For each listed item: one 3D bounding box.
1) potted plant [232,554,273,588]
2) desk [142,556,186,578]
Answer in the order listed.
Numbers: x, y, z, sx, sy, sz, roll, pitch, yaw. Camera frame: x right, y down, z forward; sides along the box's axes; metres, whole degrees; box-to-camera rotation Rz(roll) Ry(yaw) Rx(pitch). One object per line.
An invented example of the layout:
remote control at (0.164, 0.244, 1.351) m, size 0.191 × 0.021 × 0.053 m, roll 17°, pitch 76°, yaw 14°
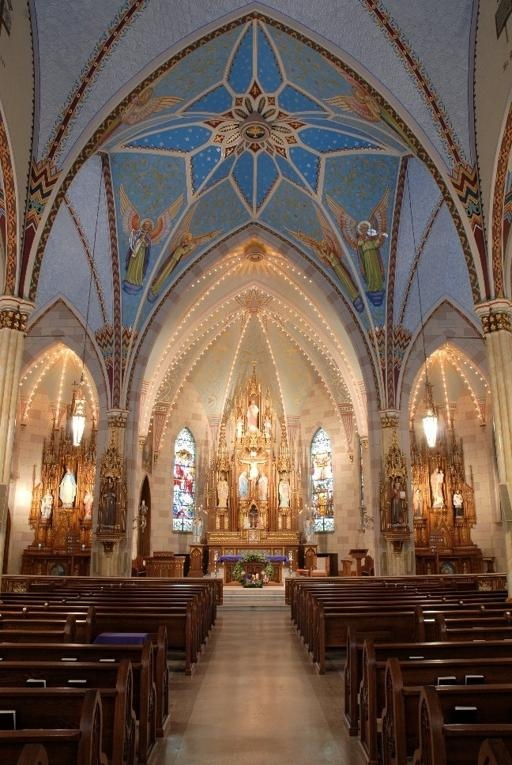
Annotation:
potted plant at (-0.152, 6.982, 18.579) m, size 1.273 × 1.230 × 1.025 m, roll 2°, pitch -13°, yaw -11°
desk at (-3.236, 6.574, 17.926) m, size 1.155 × 0.699 × 0.627 m, roll -4°, pitch -14°, yaw 12°
